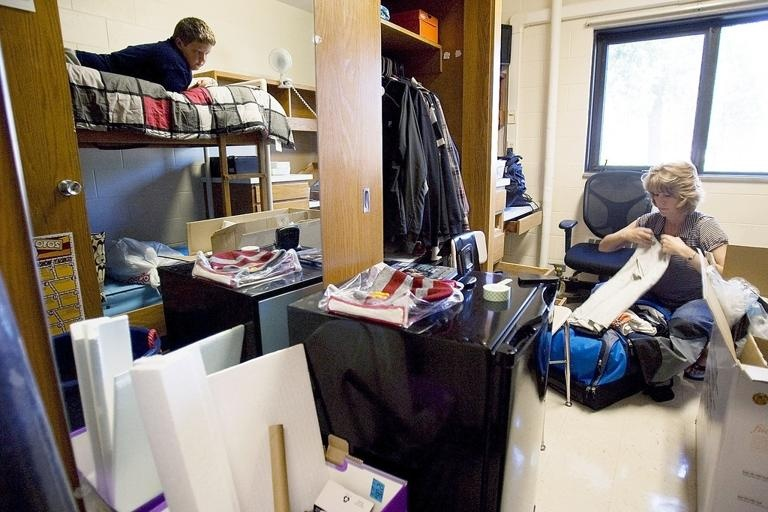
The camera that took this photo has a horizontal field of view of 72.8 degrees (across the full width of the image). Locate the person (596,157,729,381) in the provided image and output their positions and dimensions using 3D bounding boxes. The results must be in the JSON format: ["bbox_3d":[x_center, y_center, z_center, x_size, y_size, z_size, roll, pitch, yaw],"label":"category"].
[{"bbox_3d":[1.719,0.058,3.114,0.728,1.249,0.804,-7,10,-23],"label":"person"}]

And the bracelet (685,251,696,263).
[{"bbox_3d":[1.686,-0.002,2.854,0.019,0.051,0.053,16,40,-10],"label":"bracelet"}]

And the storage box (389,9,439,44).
[{"bbox_3d":[0.189,-1.345,3.085,0.236,0.141,0.239,15,20,43],"label":"storage box"}]

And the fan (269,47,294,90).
[{"bbox_3d":[-0.375,-0.679,1.906,0.087,0.146,0.044,-11,-10,-17],"label":"fan"}]

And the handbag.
[{"bbox_3d":[1.157,0.446,2.833,0.555,0.463,0.540,-9,15,-38],"label":"handbag"}]

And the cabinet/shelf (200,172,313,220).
[{"bbox_3d":[-0.431,-0.217,2.014,0.177,0.185,0.323,6,14,30],"label":"cabinet/shelf"}]

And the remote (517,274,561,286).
[{"bbox_3d":[0.622,0.097,2.102,0.158,0.033,0.182,0,14,14],"label":"remote"}]

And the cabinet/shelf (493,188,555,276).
[{"bbox_3d":[1.094,-0.315,4.405,0.547,0.704,1.010,5,15,25],"label":"cabinet/shelf"}]
